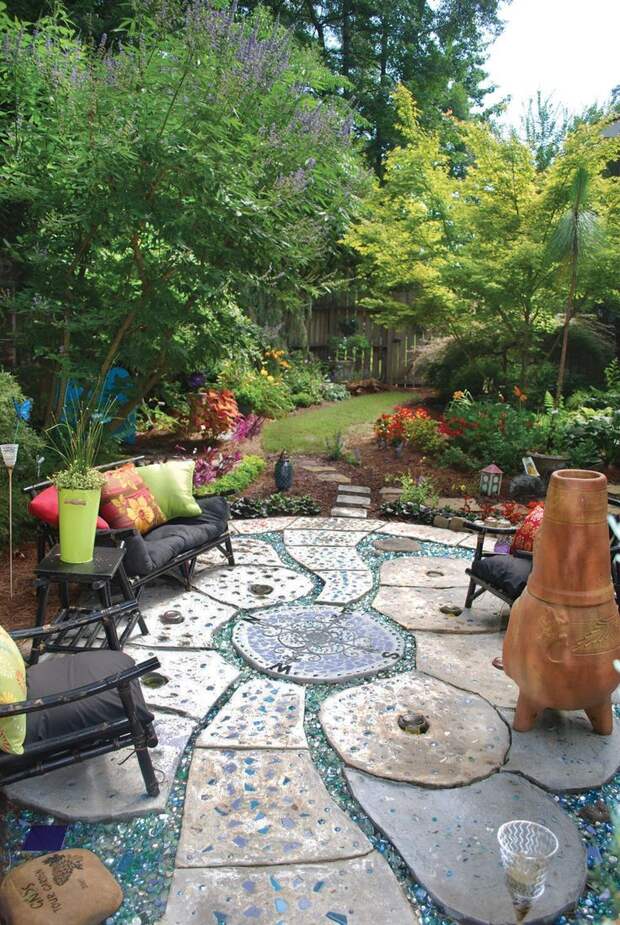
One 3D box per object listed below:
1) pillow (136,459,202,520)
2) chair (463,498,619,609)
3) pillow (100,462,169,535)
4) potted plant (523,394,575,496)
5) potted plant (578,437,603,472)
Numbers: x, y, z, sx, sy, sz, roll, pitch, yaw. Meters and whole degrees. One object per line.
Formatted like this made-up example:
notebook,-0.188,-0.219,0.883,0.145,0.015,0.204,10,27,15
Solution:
pillow,-0.999,0.189,4.643,0.421,0.394,0.206,-4,-13,-36
chair,1.166,0.506,3.811,0.914,0.729,0.640,0,1,3
pillow,-1.156,0.247,4.176,0.136,0.392,0.429,-32,-10,29
potted plant,2.796,-0.275,7.752,0.486,0.955,2.119,5,11,20
potted plant,3.185,-0.076,7.440,0.227,0.363,0.580,7,12,29
